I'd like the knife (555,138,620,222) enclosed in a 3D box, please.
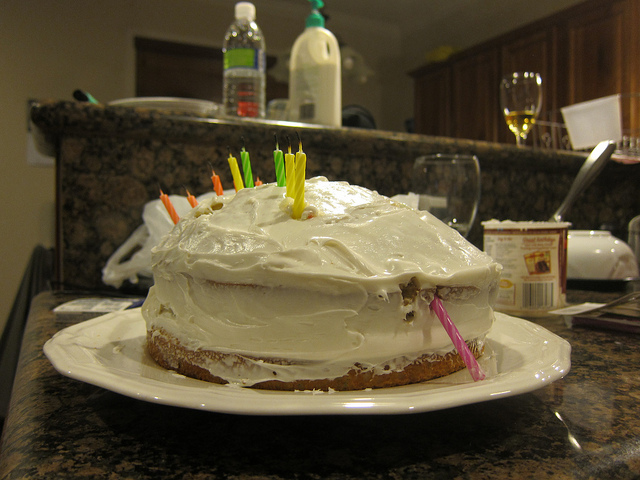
[{"bbox_3d":[0.742,-0.165,1.542,0.065,0.302,0.057,-13,47,-47],"label":"knife"}]

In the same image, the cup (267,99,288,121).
[{"bbox_3d":[-0.116,-0.364,1.547,0.072,0.075,0.056,4,8,14],"label":"cup"}]

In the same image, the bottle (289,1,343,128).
[{"bbox_3d":[-0.011,-0.420,1.352,0.130,0.285,0.119,0,6,0],"label":"bottle"}]

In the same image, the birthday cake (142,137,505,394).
[{"bbox_3d":[-0.005,0.030,0.787,0.531,0.318,0.204,0,6,-5],"label":"birthday cake"}]

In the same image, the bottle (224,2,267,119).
[{"bbox_3d":[-0.193,-0.449,1.408,0.106,0.288,0.187,-1,6,-8],"label":"bottle"}]

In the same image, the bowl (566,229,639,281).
[{"bbox_3d":[0.675,0.041,1.327,0.150,0.089,0.157,1,0,0],"label":"bowl"}]

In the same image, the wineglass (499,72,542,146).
[{"bbox_3d":[0.575,-0.378,1.588,0.106,0.208,0.169,2,6,20],"label":"wineglass"}]
